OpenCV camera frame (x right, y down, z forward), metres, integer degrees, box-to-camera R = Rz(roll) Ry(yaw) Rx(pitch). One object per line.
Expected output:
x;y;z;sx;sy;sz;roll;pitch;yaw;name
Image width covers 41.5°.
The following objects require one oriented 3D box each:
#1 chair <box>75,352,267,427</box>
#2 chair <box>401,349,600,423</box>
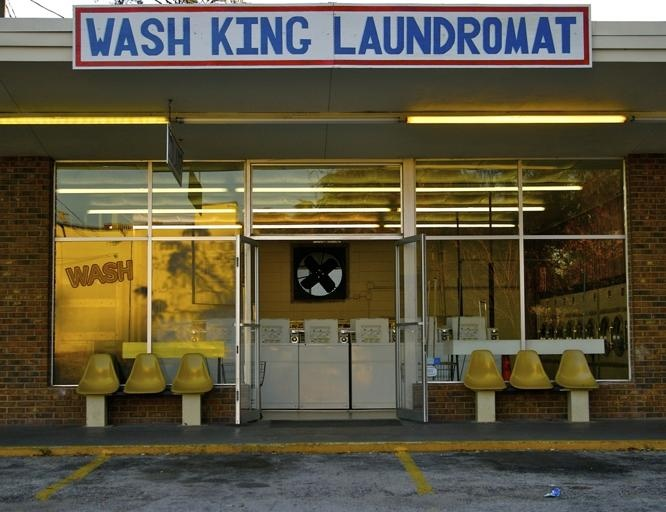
-2.791;2.271;15.015;3.118;1.227;0.969;1;-8;-14;chair
2.862;2.252;15.273;3.388;1.232;1.121;-2;-8;11;chair
